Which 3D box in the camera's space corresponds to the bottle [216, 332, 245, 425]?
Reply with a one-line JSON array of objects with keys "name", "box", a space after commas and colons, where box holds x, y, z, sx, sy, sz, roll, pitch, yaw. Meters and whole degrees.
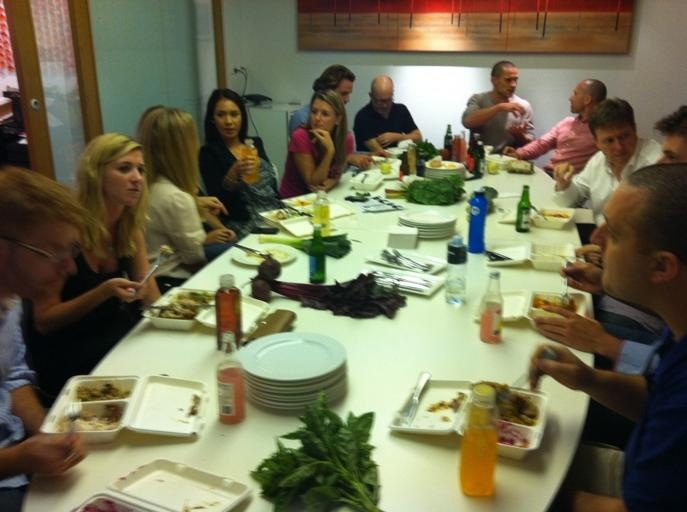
[{"name": "bottle", "box": [-0.374, 0.393, 1.739, 0.098, 0.255, 0.208, -3, 21, -4]}]

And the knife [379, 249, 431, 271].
[{"name": "knife", "box": [0.323, 0.027, 2.770, 0.213, 0.036, 0.115, 20, 14, 27]}]

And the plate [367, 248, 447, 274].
[{"name": "plate", "box": [0.350, 0.030, 2.770, 0.266, 0.036, 0.187, 13, 23, 24]}]

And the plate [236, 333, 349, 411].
[{"name": "plate", "box": [-0.177, 0.383, 1.761, 0.269, 0.099, 0.263, 7, 20, 19]}]

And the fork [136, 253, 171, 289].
[{"name": "fork", "box": [-1.052, 0.086, 2.874, 0.256, 0.063, 0.038, -52, 21, -19]}]

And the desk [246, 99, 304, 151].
[{"name": "desk", "box": [-0.915, -1.780, 7.152, 0.588, 0.800, 0.835, 3, 18, 7]}]

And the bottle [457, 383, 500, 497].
[{"name": "bottle", "box": [0.383, 0.512, 1.461, 0.101, 0.312, 0.130, 5, 22, 16]}]

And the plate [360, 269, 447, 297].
[{"name": "plate", "box": [0.298, 0.123, 2.550, 0.261, 0.028, 0.172, 10, 20, 24]}]

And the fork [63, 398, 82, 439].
[{"name": "fork", "box": [-0.850, 0.513, 1.635, 0.027, 0.038, 0.113, 21, 27, -31]}]

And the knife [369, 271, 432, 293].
[{"name": "knife", "box": [0.272, 0.124, 2.547, 0.293, 0.030, 0.103, 11, 24, 19]}]
